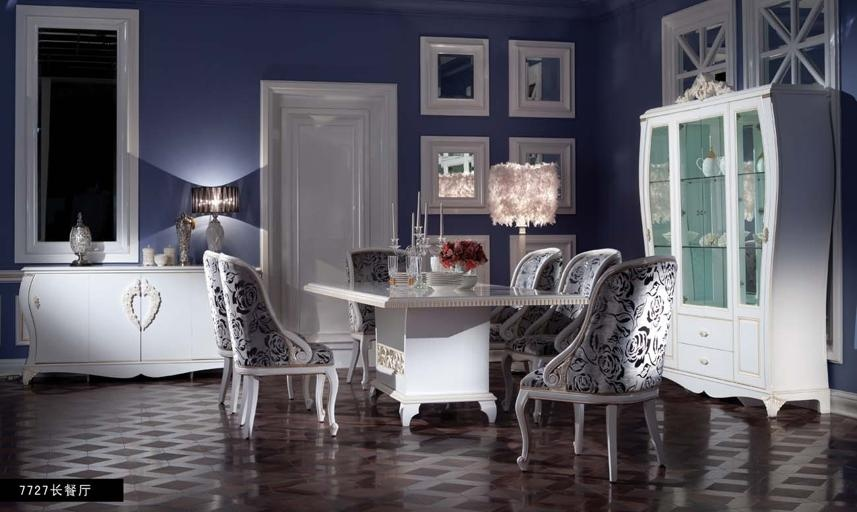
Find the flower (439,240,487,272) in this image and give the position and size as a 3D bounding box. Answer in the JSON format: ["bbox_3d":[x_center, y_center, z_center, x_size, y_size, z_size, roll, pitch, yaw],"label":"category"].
[{"bbox_3d":[0.293,-0.011,5.606,0.319,0.215,0.310,0,-1,-18],"label":"flower"}]

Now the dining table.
[{"bbox_3d":[0.094,0.787,5.839,1.399,0.918,2.149,2,-1,1],"label":"dining table"}]

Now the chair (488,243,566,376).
[{"bbox_3d":[0.915,0.436,6.591,1.020,1.417,0.967,0,-2,-13],"label":"chair"}]

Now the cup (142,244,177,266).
[{"bbox_3d":[-2.974,-0.021,7.171,0.269,0.154,0.261,0,-2,0],"label":"cup"}]

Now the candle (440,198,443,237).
[{"bbox_3d":[0.170,-0.474,7.720,0.044,0.395,0.092,-1,9,-5],"label":"candle"}]

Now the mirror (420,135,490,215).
[{"bbox_3d":[0.288,-0.988,7.737,1.181,1.250,0.102,0,0,-12],"label":"mirror"}]

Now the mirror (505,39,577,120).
[{"bbox_3d":[1.343,-2.156,7.885,1.063,1.010,0.076,0,1,-6],"label":"mirror"}]

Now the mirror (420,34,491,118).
[{"bbox_3d":[0.289,-2.160,7.736,1.092,1.039,0.078,0,1,-7],"label":"mirror"}]

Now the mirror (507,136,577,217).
[{"bbox_3d":[1.304,-0.963,7.566,1.089,1.163,0.085,0,-1,-8],"label":"mirror"}]

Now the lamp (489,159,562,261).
[{"bbox_3d":[1.123,-0.444,7.617,0.864,1.227,0.847,1,0,25],"label":"lamp"}]

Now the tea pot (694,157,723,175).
[{"bbox_3d":[2.667,-0.855,6.097,0.138,0.118,0.180,-1,1,-43],"label":"tea pot"}]

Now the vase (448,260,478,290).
[{"bbox_3d":[0.314,0.152,5.637,0.247,0.219,0.240,1,-3,-8],"label":"vase"}]

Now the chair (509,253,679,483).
[{"bbox_3d":[1.205,0.760,4.708,1.071,1.436,1.098,0,-1,-22],"label":"chair"}]

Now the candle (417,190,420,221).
[{"bbox_3d":[-0.113,-0.678,7.681,0.041,0.219,0.086,-1,8,-2],"label":"candle"}]

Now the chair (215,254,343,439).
[{"bbox_3d":[-1.213,0.739,5.434,0.993,1.330,0.917,1,-3,-9],"label":"chair"}]

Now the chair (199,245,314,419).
[{"bbox_3d":[-1.379,0.729,5.812,1.076,1.411,1.070,0,5,-37],"label":"chair"}]

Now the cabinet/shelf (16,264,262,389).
[{"bbox_3d":[-3.090,0.692,7.068,2.268,1.191,0.712,-1,1,5],"label":"cabinet/shelf"}]
